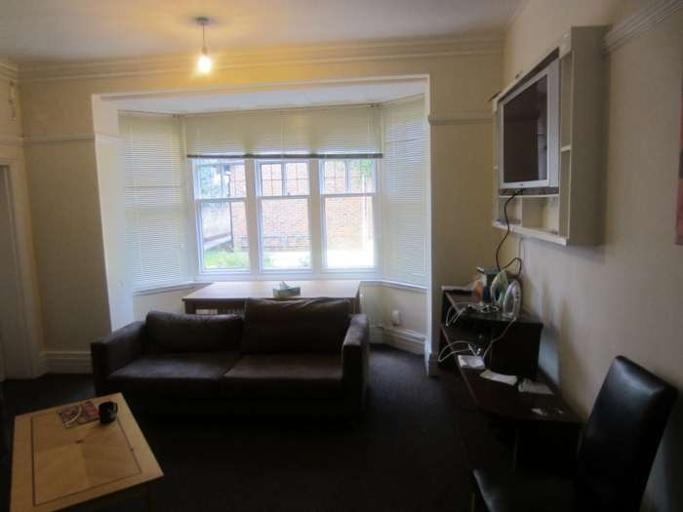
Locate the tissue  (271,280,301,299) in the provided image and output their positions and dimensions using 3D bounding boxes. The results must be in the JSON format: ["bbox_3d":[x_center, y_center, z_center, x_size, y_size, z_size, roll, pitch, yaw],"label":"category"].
[{"bbox_3d":[-0.544,0.344,5.474,0.273,0.135,0.243,-2,7,-4],"label":"tissue "}]

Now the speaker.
[{"bbox_3d":[1.169,0.600,3.828,0.462,0.484,0.336,2,0,10],"label":"speaker"}]
